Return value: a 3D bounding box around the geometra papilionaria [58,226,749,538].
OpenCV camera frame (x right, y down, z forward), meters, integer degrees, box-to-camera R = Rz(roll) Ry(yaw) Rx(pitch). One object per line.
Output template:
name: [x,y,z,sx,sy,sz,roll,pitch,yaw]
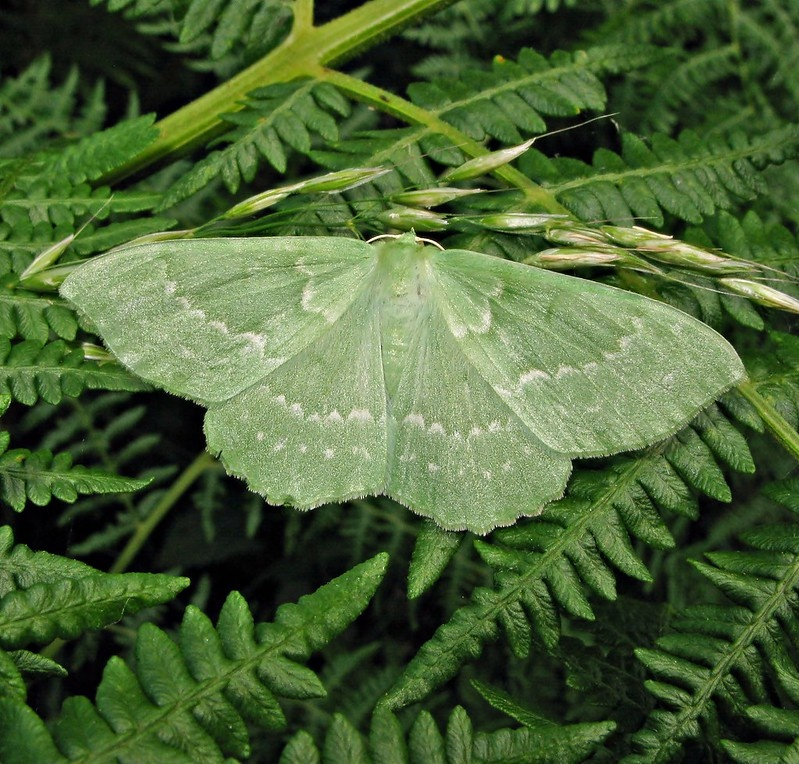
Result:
geometra papilionaria: [-0.014,-0.031,4.125,2.205,1.018,1.223,23,54,22]
